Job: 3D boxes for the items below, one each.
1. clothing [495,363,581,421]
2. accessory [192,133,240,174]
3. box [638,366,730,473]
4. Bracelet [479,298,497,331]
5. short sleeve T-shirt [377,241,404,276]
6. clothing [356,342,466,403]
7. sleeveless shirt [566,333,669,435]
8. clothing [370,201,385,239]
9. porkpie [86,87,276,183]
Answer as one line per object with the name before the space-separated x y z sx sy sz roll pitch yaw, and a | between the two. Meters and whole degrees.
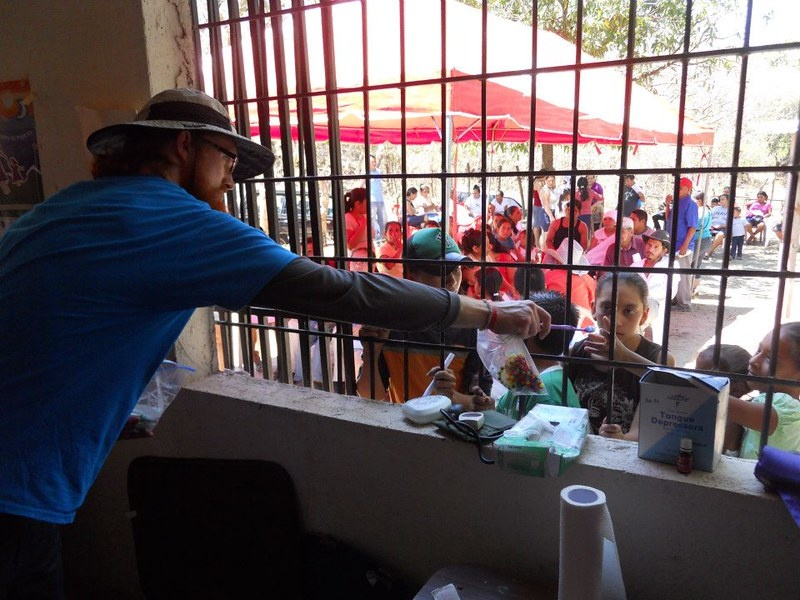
clothing | 0.561 0.368 2.597 0.382 0.213 0.371 4 -3 -25
accessory | -0.625 -0.502 2.105 0.103 0.030 0.100 36 5 12
box | 0.927 0.369 2.039 0.236 0.329 0.173 6 12 37
Bracelet | 0.299 0.054 2.061 0.029 0.084 0.062 8 -2 -7
short sleeve T-shirt | -0.064 -0.293 4.369 0.153 0.207 0.474 -20 -1 2
clothing | 0.064 0.319 2.756 0.252 0.220 0.399 11 14 13
sleeveless shirt | 0.974 0.368 2.811 0.258 0.457 0.450 -23 18 -34
clothing | -0.302 -1.006 7.839 0.139 0.478 0.201 -12 19 -26
porkpie | -0.790 -0.471 2.135 0.421 0.174 0.415 6 2 32
